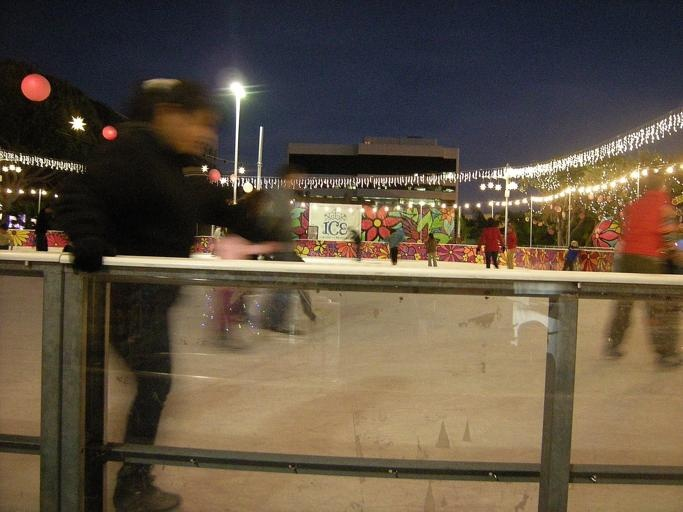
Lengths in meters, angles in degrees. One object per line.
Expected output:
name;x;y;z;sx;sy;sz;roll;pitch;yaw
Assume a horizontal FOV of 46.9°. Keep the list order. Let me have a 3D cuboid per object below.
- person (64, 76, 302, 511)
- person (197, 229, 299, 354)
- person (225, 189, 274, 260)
person;-0.870;0.145;4.014;0.545;1.591;1.051;1;0;29
person;-0.522;0.183;4.076;0.478;0.714;0.519;3;1;34
person;-0.531;-0.174;4.576;0.302;0.298;0.897;7;10;1
